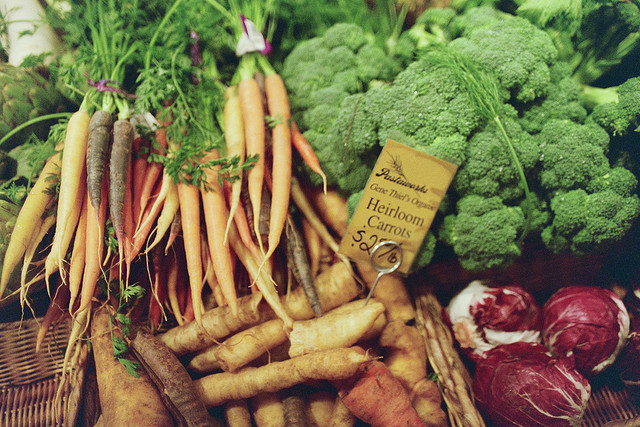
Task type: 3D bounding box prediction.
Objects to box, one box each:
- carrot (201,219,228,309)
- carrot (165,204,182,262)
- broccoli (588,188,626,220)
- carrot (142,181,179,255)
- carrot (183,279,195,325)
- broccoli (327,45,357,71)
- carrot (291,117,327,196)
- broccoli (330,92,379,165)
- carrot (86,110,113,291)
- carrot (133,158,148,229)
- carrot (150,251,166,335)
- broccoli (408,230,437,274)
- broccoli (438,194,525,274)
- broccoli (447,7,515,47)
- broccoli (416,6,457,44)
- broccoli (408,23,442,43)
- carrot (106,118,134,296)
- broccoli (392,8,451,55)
[{"bbox_3d":[-0.666,0.294,3.434,0.074,0.572,0.076,-15,0,-24],"label":"carrot"},{"bbox_3d":[-0.897,0.113,3.412,0.062,0.067,0.393,3,74,11],"label":"carrot"},{"bbox_3d":[1.698,-0.057,3.187,0.179,0.104,0.170,0,62,32],"label":"broccoli"},{"bbox_3d":[-0.997,0.009,3.366,0.079,0.090,0.459,23,81,-12],"label":"carrot"},{"bbox_3d":[-0.869,0.576,3.617,0.049,0.313,0.058,-1,-8,-40],"label":"carrot"},{"bbox_3d":[0.134,-0.962,3.426,0.140,0.176,0.050,2,-2,-2],"label":"broccoli"},{"bbox_3d":[-0.067,-0.386,3.485,0.091,0.086,0.507,-14,72,-50],"label":"carrot"},{"bbox_3d":[0.208,-0.513,3.287,0.266,0.378,0.188,7,15,18],"label":"broccoli"},{"bbox_3d":[-1.331,-0.155,3.265,0.140,0.885,0.126,-4,-7,30],"label":"carrot"},{"bbox_3d":[-1.105,-0.143,3.369,0.074,0.384,0.073,6,-4,-2],"label":"carrot"},{"bbox_3d":[-1.037,0.518,3.497,0.071,0.567,0.075,8,-5,-15],"label":"carrot"},{"bbox_3d":[0.643,0.232,3.345,0.074,0.243,0.187,21,32,8],"label":"broccoli"},{"bbox_3d":[0.976,0.111,3.231,0.376,0.491,0.235,-2,34,5],"label":"broccoli"},{"bbox_3d":[0.971,-1.232,3.392,0.318,0.097,0.333,23,64,42],"label":"broccoli"},{"bbox_3d":[0.746,-1.180,3.434,0.260,0.280,0.080,-4,7,13],"label":"broccoli"},{"bbox_3d":[0.663,-1.145,3.470,0.202,0.098,0.125,19,40,19],"label":"broccoli"},{"bbox_3d":[-1.188,-0.077,3.285,0.141,0.926,0.142,2,-3,-1],"label":"carrot"},{"bbox_3d":[0.660,-1.166,3.451,0.235,0.145,0.361,33,63,23],"label":"broccoli"}]
